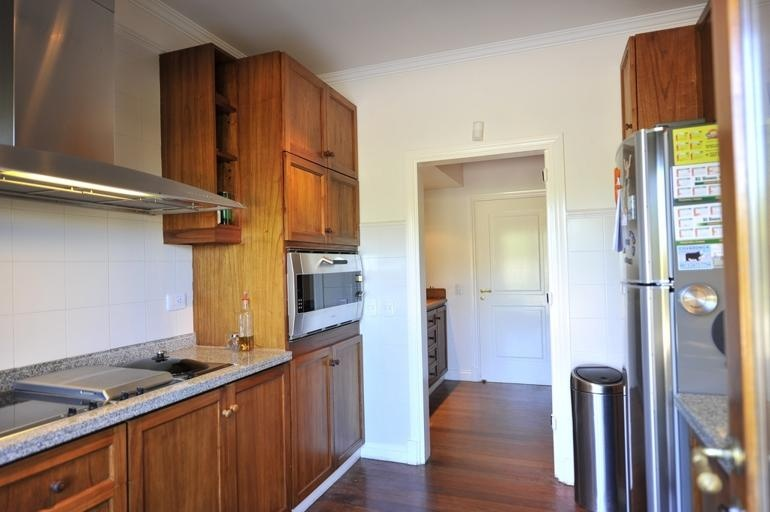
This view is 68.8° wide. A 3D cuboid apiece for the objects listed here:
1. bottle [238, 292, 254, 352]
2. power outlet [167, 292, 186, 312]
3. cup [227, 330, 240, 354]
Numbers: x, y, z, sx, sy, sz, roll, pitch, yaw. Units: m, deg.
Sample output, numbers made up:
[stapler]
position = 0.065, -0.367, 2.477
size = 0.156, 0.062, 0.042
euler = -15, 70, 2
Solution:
[bottle]
position = -0.862, 0.405, 3.482
size = 0.080, 0.351, 0.112
euler = -2, 7, 0
[power outlet]
position = -1.320, 0.289, 3.538
size = 0.019, 0.091, 0.133
euler = 3, 2, 33
[cup]
position = -0.936, 0.532, 3.453
size = 0.087, 0.105, 0.047
euler = -1, 7, 4
